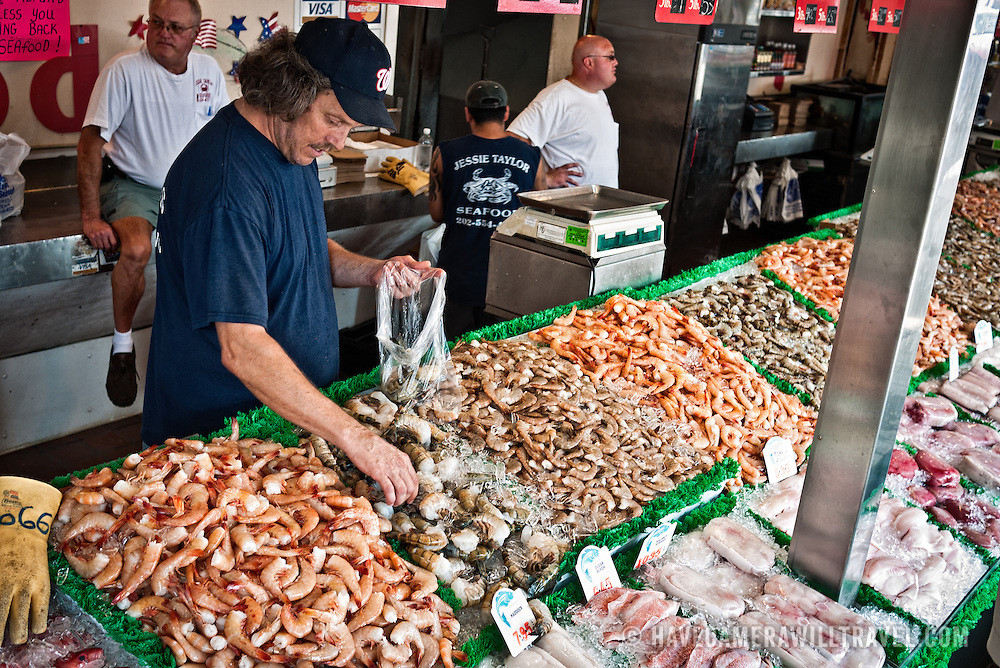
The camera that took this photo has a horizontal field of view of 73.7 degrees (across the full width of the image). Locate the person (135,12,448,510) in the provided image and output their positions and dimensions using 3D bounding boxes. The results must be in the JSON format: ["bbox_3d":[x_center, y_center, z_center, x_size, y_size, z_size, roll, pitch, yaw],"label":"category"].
[{"bbox_3d":[-0.708,-0.242,2.250,1.240,1.523,0.644,15,26,30],"label":"person"}]

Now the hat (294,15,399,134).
[{"bbox_3d":[-0.495,-0.817,2.081,0.277,0.301,0.145,-1,22,-6],"label":"hat"}]

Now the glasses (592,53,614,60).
[{"bbox_3d":[0.790,-2.048,4.890,0.071,0.048,0.225,15,26,29],"label":"glasses"}]

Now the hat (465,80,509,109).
[{"bbox_3d":[-0.075,-1.473,4.100,0.224,0.152,0.238,6,23,9],"label":"hat"}]

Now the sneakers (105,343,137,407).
[{"bbox_3d":[-2.190,0.267,3.896,0.143,0.433,0.168,-5,9,-27],"label":"sneakers"}]

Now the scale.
[{"bbox_3d":[0.428,-0.716,3.430,0.536,0.221,0.601,-20,30,-38],"label":"scale"}]
